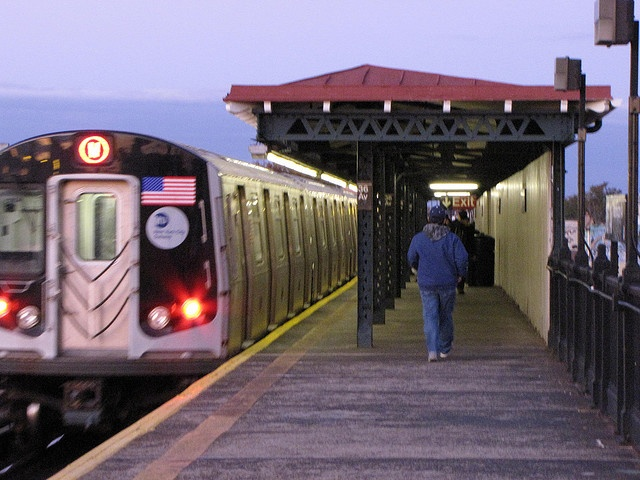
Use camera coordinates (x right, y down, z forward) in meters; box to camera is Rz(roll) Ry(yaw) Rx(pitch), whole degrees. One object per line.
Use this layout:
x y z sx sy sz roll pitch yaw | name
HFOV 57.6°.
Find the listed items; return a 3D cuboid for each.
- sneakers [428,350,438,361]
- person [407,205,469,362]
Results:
1.673 1.692 8.632 0.128 0.173 0.212 0 1 9 | sneakers
1.767 0.623 8.779 0.851 2.315 0.540 0 0 8 | person
